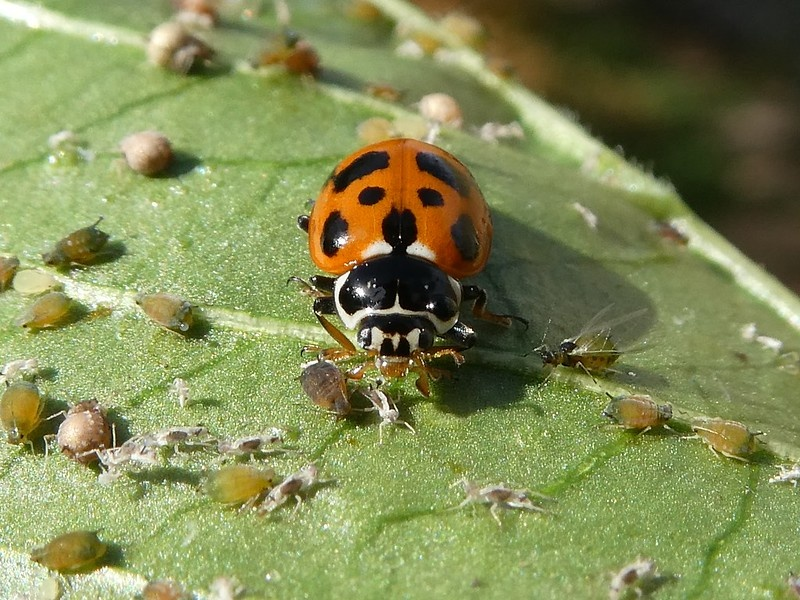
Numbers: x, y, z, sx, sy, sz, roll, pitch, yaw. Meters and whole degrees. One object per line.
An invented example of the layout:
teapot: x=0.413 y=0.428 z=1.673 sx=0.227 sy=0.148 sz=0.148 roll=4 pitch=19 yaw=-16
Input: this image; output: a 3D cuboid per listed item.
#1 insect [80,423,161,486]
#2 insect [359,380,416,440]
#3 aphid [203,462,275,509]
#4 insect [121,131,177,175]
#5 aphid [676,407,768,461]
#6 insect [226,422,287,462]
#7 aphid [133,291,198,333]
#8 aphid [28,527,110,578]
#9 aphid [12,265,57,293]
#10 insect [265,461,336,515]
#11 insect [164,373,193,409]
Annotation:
insect: x=-1.033 y=0.583 z=3.256 sx=0.286 sy=0.091 sz=0.148 roll=-25 pitch=80 yaw=-4
insect: x=-0.051 y=0.423 z=3.357 sx=0.140 sy=0.061 sz=0.222 roll=-20 pitch=79 yaw=-3
aphid: x=-0.584 y=0.682 z=3.206 sx=0.240 sy=0.073 sz=0.139 roll=5 pitch=79 yaw=2
insect: x=-1.152 y=-0.656 z=4.019 sx=0.196 sy=0.123 sz=0.209 roll=0 pitch=96 yaw=-9
aphid: x=1.232 y=0.531 z=3.375 sx=0.272 sy=0.107 sz=0.132 roll=22 pitch=81 yaw=5
insect: x=-0.551 y=0.526 z=3.298 sx=0.150 sy=0.042 sz=0.107 roll=-15 pitch=36 yaw=-3
aphid: x=-0.948 y=0.039 z=3.540 sx=0.241 sy=0.104 sz=0.132 roll=22 pitch=81 yaw=5
aphid: x=-1.174 y=0.902 z=3.103 sx=0.261 sy=0.096 sz=0.141 roll=-21 pitch=79 yaw=-3
aphid: x=-1.514 y=-0.070 z=3.659 sx=0.181 sy=0.062 sz=0.115 roll=-5 pitch=79 yaw=0
insect: x=-0.377 y=0.694 z=3.205 sx=0.201 sy=0.059 sz=0.142 roll=-33 pitch=44 yaw=-9
insect: x=-0.860 y=0.358 z=3.390 sx=0.087 sy=0.039 sz=0.109 roll=-8 pitch=90 yaw=3
